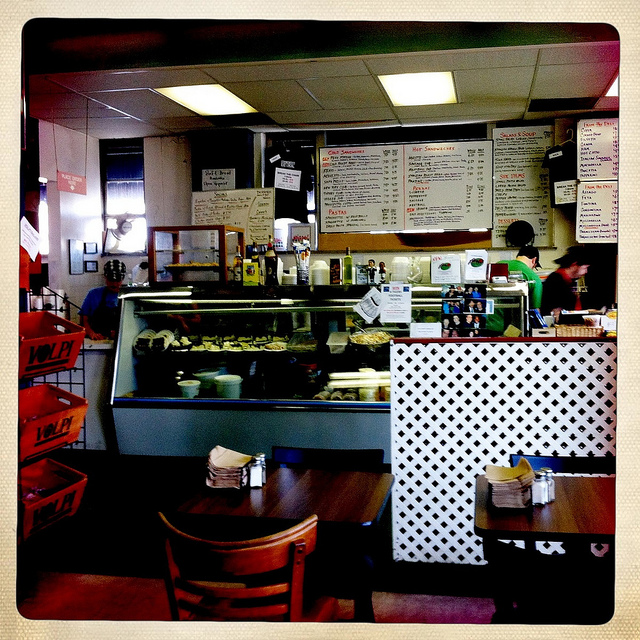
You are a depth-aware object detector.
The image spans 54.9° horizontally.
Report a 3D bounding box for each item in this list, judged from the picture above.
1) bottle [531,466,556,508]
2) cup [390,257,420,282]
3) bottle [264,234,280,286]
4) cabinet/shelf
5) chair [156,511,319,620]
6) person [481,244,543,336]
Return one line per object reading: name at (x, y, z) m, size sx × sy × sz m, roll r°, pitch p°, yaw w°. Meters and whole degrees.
bottle at (0.821, 0.628, 2.321) m, size 0.129 × 0.111 × 0.123 m, roll 1°, pitch 5°, yaw 8°
cup at (0.517, -0.303, 3.728) m, size 0.168 × 0.150 × 0.280 m, roll -1°, pitch 7°, yaw 7°
bottle at (-0.326, -0.378, 4.147) m, size 0.095 × 0.269 × 0.351 m, roll -3°, pitch 7°, yaw -5°
cabinet/shelf at (-0.304, 0.325, 4.106) m, size 1.905 × 1.012 × 0.803 m, roll -1°, pitch 8°, yaw 15°
chair at (-0.242, 0.811, 1.921) m, size 0.466 × 0.405 × 0.256 m, roll -4°, pitch 7°, yaw -15°
person at (1.467, -0.272, 4.501) m, size 0.275 × 0.475 × 2.616 m, roll 1°, pitch 7°, yaw 20°
